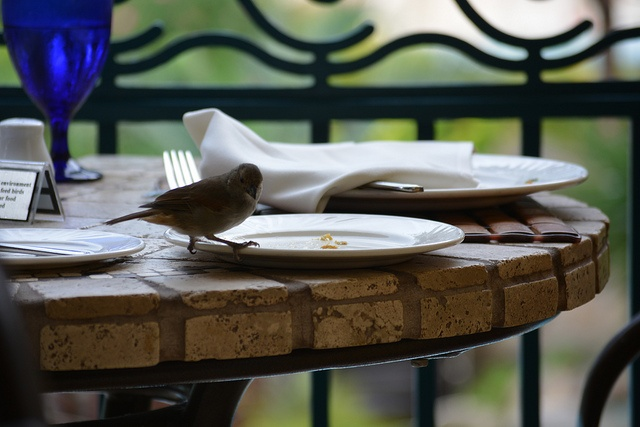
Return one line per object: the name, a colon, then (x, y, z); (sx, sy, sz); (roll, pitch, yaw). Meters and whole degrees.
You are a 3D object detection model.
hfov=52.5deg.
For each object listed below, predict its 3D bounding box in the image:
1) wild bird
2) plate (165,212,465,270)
wild bird: (-0.160, 0.012, 0.863); (0.126, 0.130, 0.175); (-6, 7, 19)
plate: (-0.008, 0.007, 0.839); (0.420, 0.062, 0.290); (-2, 4, -25)
